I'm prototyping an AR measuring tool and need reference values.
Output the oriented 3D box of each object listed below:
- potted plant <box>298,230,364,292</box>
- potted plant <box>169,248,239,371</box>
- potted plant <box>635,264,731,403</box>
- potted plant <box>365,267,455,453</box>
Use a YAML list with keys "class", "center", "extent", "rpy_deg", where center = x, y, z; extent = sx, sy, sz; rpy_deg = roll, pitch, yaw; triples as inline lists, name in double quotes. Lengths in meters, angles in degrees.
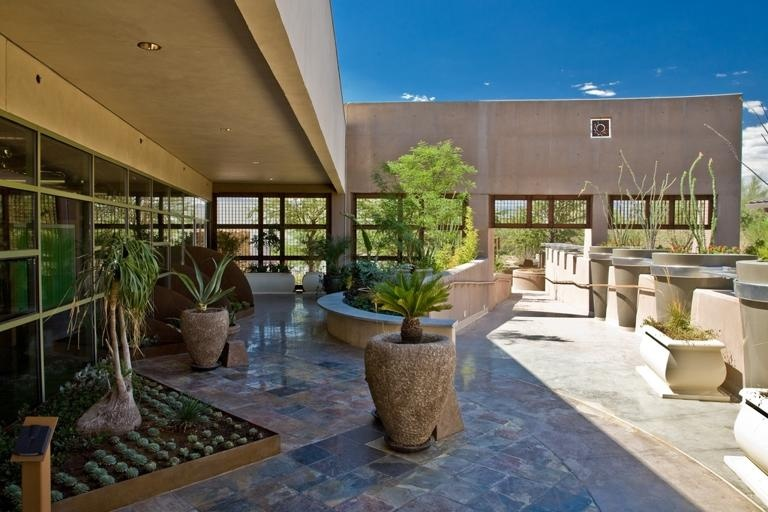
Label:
- class: "potted plant"
  center: [-2.158, 0.155, 16.872]
  extent: [2.478, 2.514, 1.949]
  rpy_deg: [0, 0, 20]
- class: "potted plant"
  center: [-2.815, 0.901, 7.572]
  extent: [0.984, 1.725, 0.918]
  rpy_deg: [0, 1, -13]
- class: "potted plant"
  center: [4.580, 1.494, 7.213]
  extent: [0.935, 0.997, 1.119]
  rpy_deg: [2, 4, -23]
- class: "potted plant"
  center: [0.308, 1.141, 5.222]
  extent: [1.029, 1.706, 1.022]
  rpy_deg: [-2, -4, 25]
